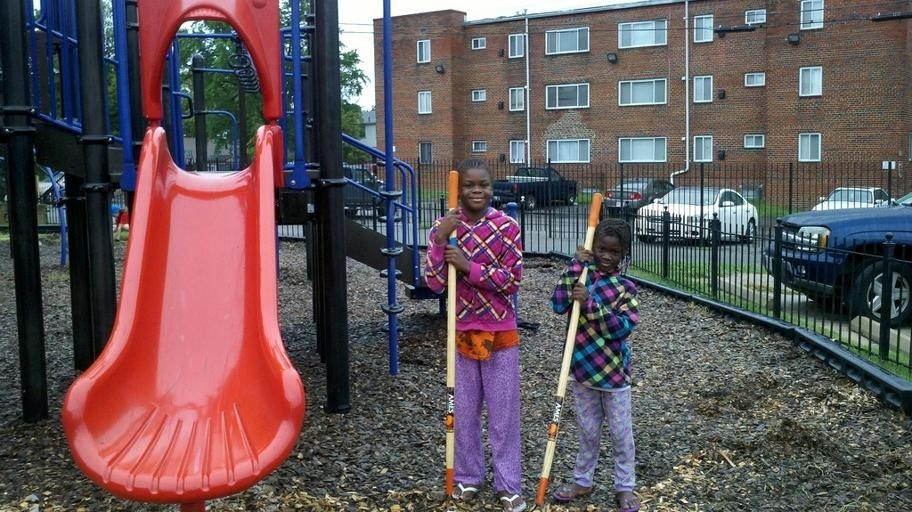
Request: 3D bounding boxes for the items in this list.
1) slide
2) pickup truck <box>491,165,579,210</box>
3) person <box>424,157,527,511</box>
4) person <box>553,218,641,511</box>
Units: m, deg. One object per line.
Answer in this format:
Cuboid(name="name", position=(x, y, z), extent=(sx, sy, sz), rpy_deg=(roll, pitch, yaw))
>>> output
Cuboid(name="slide", position=(-2.652, 0.519, 8.510), extent=(1.704, 3.992, 1.081), rpy_deg=(1, -33, -10))
Cuboid(name="pickup truck", position=(2.252, -1.889, 23.047), extent=(1.599, 1.126, 3.348), rpy_deg=(6, 11, 39))
Cuboid(name="person", position=(0.214, 0.760, 8.109), extent=(0.873, 3.390, 0.623), rpy_deg=(-2, 7, 3))
Cuboid(name="person", position=(1.386, 1.064, 8.196), extent=(0.794, 2.826, 0.485), rpy_deg=(-1, 8, 11))
